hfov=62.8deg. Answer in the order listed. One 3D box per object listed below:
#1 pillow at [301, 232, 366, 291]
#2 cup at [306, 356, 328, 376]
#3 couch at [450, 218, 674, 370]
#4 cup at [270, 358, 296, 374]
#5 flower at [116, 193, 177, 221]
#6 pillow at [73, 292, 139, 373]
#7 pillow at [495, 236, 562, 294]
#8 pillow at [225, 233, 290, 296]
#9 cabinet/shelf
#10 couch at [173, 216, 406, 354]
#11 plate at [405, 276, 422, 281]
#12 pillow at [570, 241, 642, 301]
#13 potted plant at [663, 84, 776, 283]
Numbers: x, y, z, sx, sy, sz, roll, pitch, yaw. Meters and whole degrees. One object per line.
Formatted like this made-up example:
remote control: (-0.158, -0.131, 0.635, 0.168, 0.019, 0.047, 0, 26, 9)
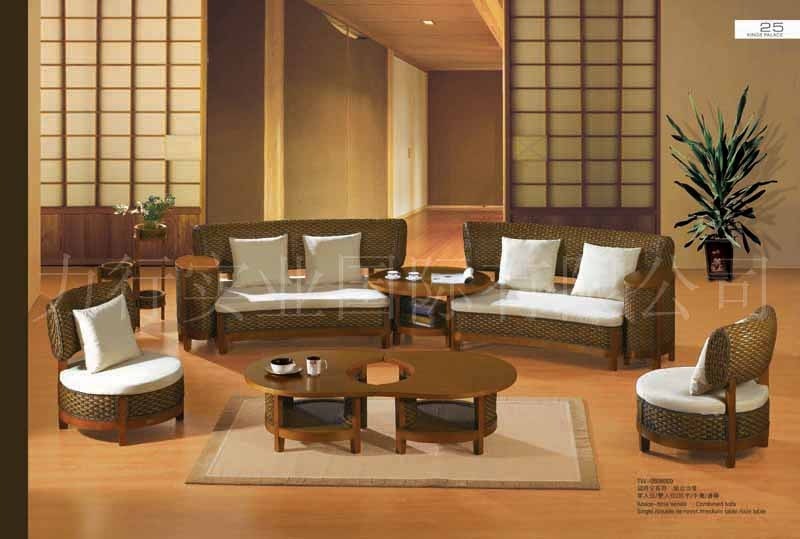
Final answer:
pillow: (-0.594, -0.072, 5.677, 0.647, 0.465, 0.202, -2, -1, -8)
cup: (-0.470, 0.544, 3.686, 0.148, 0.082, 0.082, 0, 0, -2)
couch: (1.359, 0.172, 5.275, 1.675, 0.959, 1.090, 4, 14, 19)
cup: (-0.659, 0.537, 3.675, 0.115, 0.040, 0.088, 0, 4, -36)
flower: (-2.846, -0.708, 7.252, 0.794, 0.311, 0.523, -1, -2, -4)
pillow: (-1.759, 0.372, 3.890, 0.156, 0.367, 0.451, -11, 11, 38)
pillow: (1.096, -0.040, 5.475, 0.559, 0.409, 0.192, 5, -11, 19)
pillow: (-1.214, -0.030, 5.531, 0.674, 0.504, 0.204, 0, -5, -12)
cabinet/shelf: (-2.576, 0.052, 6.216, 0.711, 0.752, 0.430, 0, 2, 2)
couch: (-0.961, 0.129, 5.921, 2.374, 0.935, 0.814, -1, 29, -39)
plate: (0.111, 0.065, 5.341, 0.122, 0.028, 0.131, -1, 12, -2)
pillow: (1.631, 0.014, 5.169, 0.525, 0.409, 0.163, 10, -4, 44)
potted plant: (3.850, -1.069, 7.813, 1.095, 2.216, 1.282, 13, 19, 41)
